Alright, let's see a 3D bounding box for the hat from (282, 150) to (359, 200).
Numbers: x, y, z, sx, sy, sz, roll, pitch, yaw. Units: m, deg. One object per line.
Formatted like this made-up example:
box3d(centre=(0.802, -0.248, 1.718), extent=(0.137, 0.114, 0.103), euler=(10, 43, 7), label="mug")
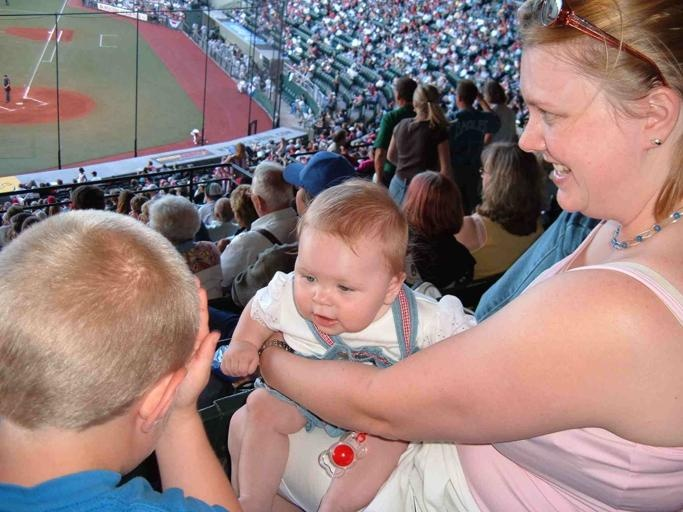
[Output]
box3d(centre=(-0.125, -0.527, 3.329), extent=(0.507, 0.268, 0.362), euler=(21, 18, 25), label="hat")
